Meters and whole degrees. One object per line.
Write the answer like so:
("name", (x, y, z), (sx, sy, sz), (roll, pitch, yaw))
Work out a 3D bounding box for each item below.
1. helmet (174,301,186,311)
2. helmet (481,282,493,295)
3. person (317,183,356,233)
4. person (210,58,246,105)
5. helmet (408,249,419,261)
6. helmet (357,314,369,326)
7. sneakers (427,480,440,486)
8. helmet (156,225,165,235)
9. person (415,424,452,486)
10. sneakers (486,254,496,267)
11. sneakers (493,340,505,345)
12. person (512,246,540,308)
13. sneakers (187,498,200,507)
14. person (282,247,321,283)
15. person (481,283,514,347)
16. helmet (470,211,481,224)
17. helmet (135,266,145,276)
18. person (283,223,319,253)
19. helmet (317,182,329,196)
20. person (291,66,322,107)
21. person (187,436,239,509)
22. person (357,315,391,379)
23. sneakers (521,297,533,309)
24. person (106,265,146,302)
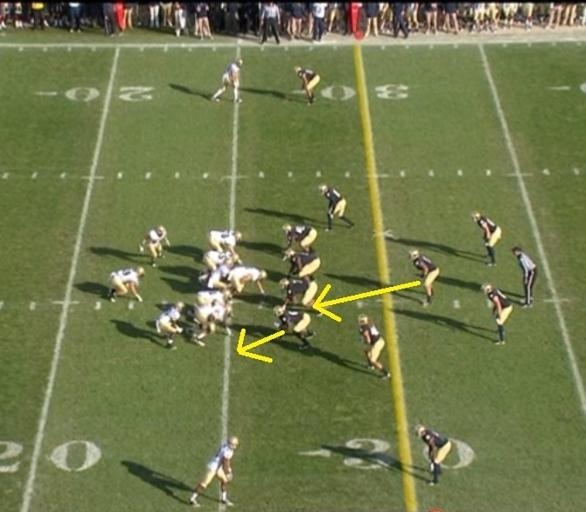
("helmet", (-2.337, 1.006, 19.465), (0.193, 0.174, 0.203), (-13, 38, -30))
("helmet", (4.120, 0.605, 19.847), (0.259, 0.104, 0.284), (1, 64, 4))
("person", (1.166, -1.288, 22.688), (0.638, 1.185, 1.124), (13, 26, 24))
("person", (-1.874, -5.072, 26.428), (0.807, 1.245, 1.426), (-1, 24, -5))
("helmet", (2.649, -0.065, 20.578), (0.283, 0.271, 0.214), (5, 4, 18))
("helmet", (1.442, 1.280, 19.150), (0.177, 0.170, 0.226), (-5, -10, 4))
("sneakers", (2.715, 4.315, 17.996), (0.202, 0.131, 0.071), (13, 17, 24))
("helmet", (-3.040, -0.641, 21.506), (0.201, 0.198, 0.118), (-34, -2, -19))
("person", (2.696, 3.837, 18.020), (0.844, 1.322, 0.616), (0, 32, 7))
("sneakers", (4.572, 0.068, 21.794), (0.272, 0.266, 0.152), (15, 36, 37))
("sneakers", (4.454, 1.825, 20.108), (0.189, 0.088, 0.077), (0, -10, 20))
("person", (5.181, 0.335, 20.939), (0.589, 1.282, 0.881), (8, 25, 14))
("sneakers", (-1.858, 4.619, 17.672), (0.152, 0.176, 0.075), (1, 52, 29))
("person", (0.234, 0.127, 21.127), (0.636, 0.440, 0.966), (-14, 32, 1))
("person", (4.439, 1.302, 20.291), (0.679, 1.361, 0.666), (-7, 31, 13))
("helmet", (4.165, -0.930, 21.438), (0.247, 0.305, 0.151), (6, -2, -32))
("helmet", (-3.332, 0.268, 20.452), (0.197, 0.225, 0.084), (-5, -15, -2))
("person", (0.133, -0.494, 21.562), (0.741, 0.553, 0.449), (7, -18, 19))
("helmet", (0.735, -1.634, 22.277), (0.258, 0.321, 0.205), (3, 6, 0))
("person", (0.434, -4.917, 26.382), (0.623, 1.063, 1.380), (2, 24, 2))
("person", (-1.518, 3.893, 17.725), (0.867, 1.451, 0.868), (-1, 24, -6))
("person", (1.718, 1.753, 19.517), (0.702, 1.416, 0.720), (3, 24, 4))
("sneakers", (5.217, 1.022, 20.780), (0.309, 0.290, 0.148), (6, 49, 16))
("person", (-3.738, 0.517, 20.889), (0.751, 0.939, 1.077), (-4, 24, -12))
